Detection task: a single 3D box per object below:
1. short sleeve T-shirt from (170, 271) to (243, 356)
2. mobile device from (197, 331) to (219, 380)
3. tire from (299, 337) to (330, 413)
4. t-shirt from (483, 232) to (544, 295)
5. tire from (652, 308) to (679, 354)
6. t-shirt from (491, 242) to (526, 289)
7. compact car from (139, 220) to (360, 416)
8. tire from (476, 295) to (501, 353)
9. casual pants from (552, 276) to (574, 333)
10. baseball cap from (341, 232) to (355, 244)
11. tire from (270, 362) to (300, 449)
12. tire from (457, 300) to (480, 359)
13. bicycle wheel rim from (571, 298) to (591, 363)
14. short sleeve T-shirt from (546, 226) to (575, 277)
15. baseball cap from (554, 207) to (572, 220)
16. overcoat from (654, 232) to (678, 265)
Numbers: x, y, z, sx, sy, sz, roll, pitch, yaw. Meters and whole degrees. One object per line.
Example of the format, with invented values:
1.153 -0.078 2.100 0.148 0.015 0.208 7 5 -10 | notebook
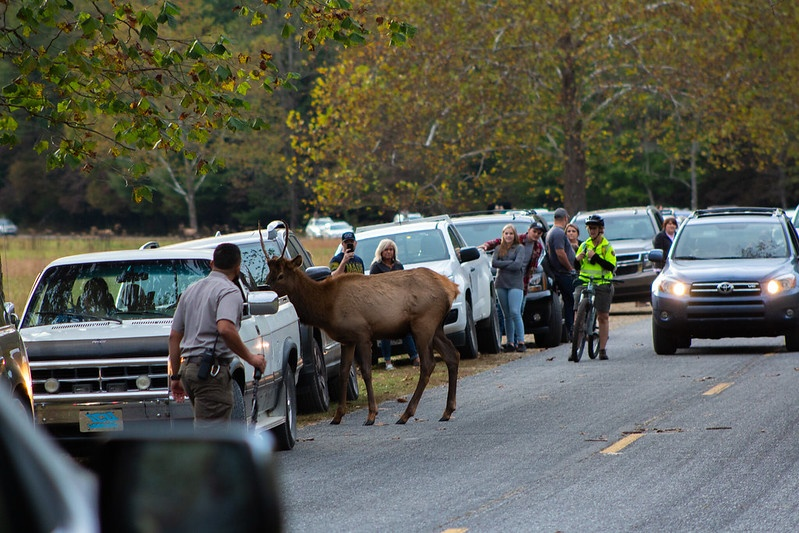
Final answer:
-2.584 0.651 20.280 1.156 1.189 0.638 0 -11 38 | short sleeve T-shirt
-2.540 1.210 19.953 0.330 0.550 0.107 -8 9 -32 | mobile device
-1.443 1.803 24.897 0.359 1.230 1.165 -4 5 13 | tire
2.380 -0.038 30.883 1.028 1.163 0.367 -5 -13 13 | t-shirt
5.094 1.200 28.523 0.279 0.890 0.842 0 0 12 | tire
2.247 -0.020 30.804 0.661 0.958 0.502 3 -2 19 | t-shirt
-2.118 0.773 24.939 2.316 2.274 4.084 -1 -7 10 | compact car
1.821 1.178 30.922 0.332 1.160 1.099 -2 3 18 | tire
3.565 0.630 31.743 0.218 0.936 0.924 -5 14 -18 | casual pants
-0.949 -0.544 27.785 0.214 0.172 0.367 -4 -4 -1 | baseball cap
-1.729 2.058 22.278 0.336 1.159 1.097 0 -10 13 | tire
1.347 1.200 29.540 0.330 1.138 1.076 -2 5 7 | tire
3.477 1.212 28.707 0.306 1.150 0.758 0 8 23 | bicycle wheel rim
3.353 -0.288 31.132 0.462 0.900 0.777 -7 14 -4 | short sleeve T-shirt
3.359 -1.074 31.380 0.262 0.304 0.342 2 11 19 | baseball cap
5.727 -0.402 31.956 0.660 0.793 0.418 3 -3 -20 | overcoat
